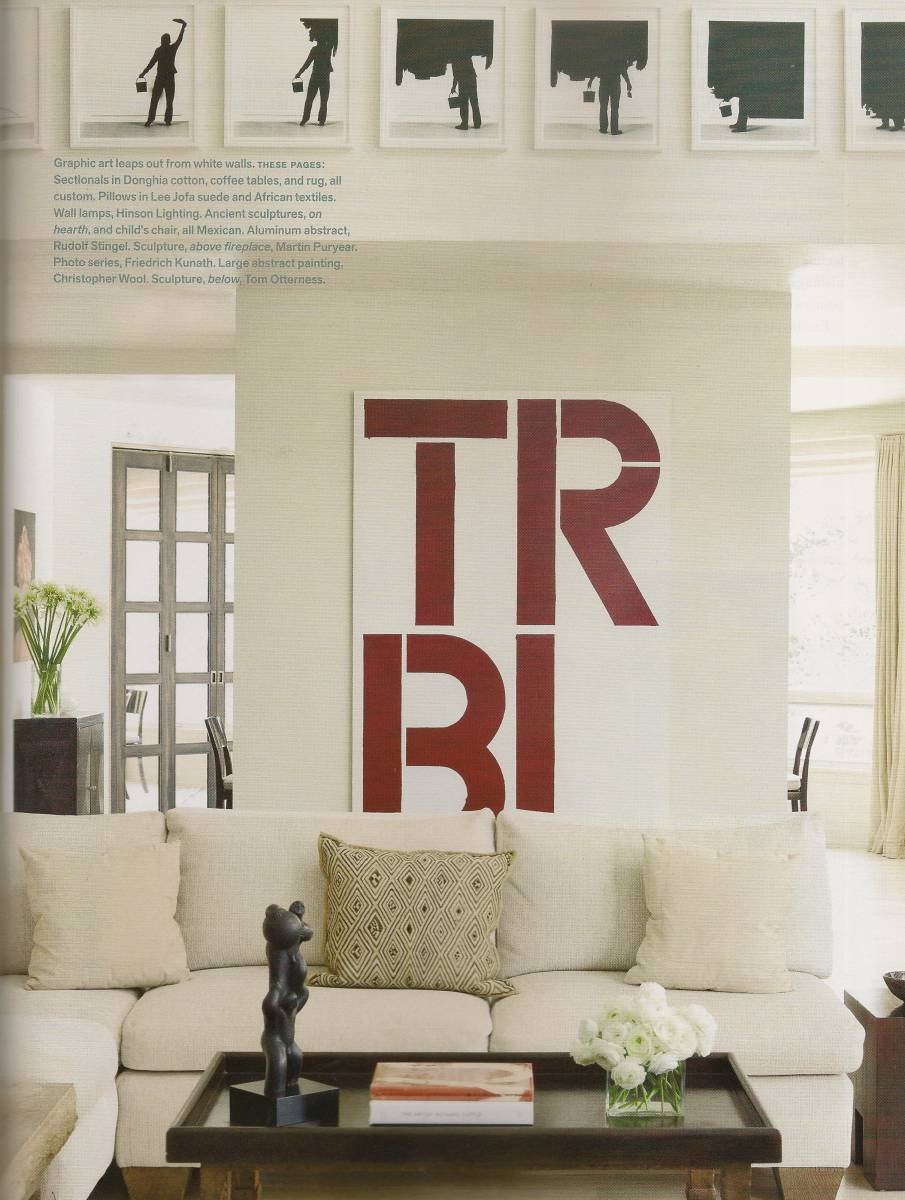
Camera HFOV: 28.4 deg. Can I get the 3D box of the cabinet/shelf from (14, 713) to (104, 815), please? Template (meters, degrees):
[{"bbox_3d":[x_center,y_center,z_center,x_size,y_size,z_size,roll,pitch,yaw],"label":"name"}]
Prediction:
[{"bbox_3d":[-1.501,0.632,6.816,0.285,0.405,0.858,1,2,-8],"label":"cabinet/shelf"}]

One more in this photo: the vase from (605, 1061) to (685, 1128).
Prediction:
[{"bbox_3d":[0.366,0.933,3.387,0.097,0.129,0.112,1,-8,-2],"label":"vase"}]

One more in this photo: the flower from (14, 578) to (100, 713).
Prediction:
[{"bbox_3d":[-1.546,0.182,6.924,0.302,0.505,0.795,1,1,-2],"label":"flower"}]

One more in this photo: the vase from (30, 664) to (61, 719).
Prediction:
[{"bbox_3d":[-1.574,0.329,6.957,0.102,0.214,0.342,1,2,-17],"label":"vase"}]

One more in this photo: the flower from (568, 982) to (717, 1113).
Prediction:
[{"bbox_3d":[0.371,0.844,3.380,0.202,0.253,0.231,4,-14,-13],"label":"flower"}]
